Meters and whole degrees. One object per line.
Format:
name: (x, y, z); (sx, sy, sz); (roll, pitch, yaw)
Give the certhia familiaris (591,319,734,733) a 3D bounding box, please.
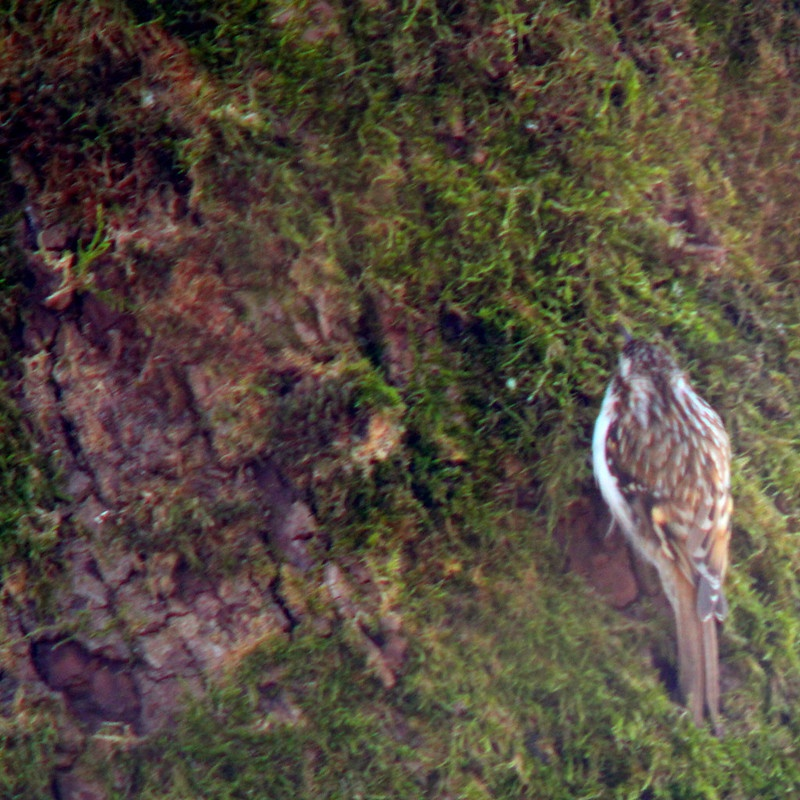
certhia familiaris: (0.907, 0.455, 6.940); (0.514, 1.376, 0.570); (-6, -10, -2)
